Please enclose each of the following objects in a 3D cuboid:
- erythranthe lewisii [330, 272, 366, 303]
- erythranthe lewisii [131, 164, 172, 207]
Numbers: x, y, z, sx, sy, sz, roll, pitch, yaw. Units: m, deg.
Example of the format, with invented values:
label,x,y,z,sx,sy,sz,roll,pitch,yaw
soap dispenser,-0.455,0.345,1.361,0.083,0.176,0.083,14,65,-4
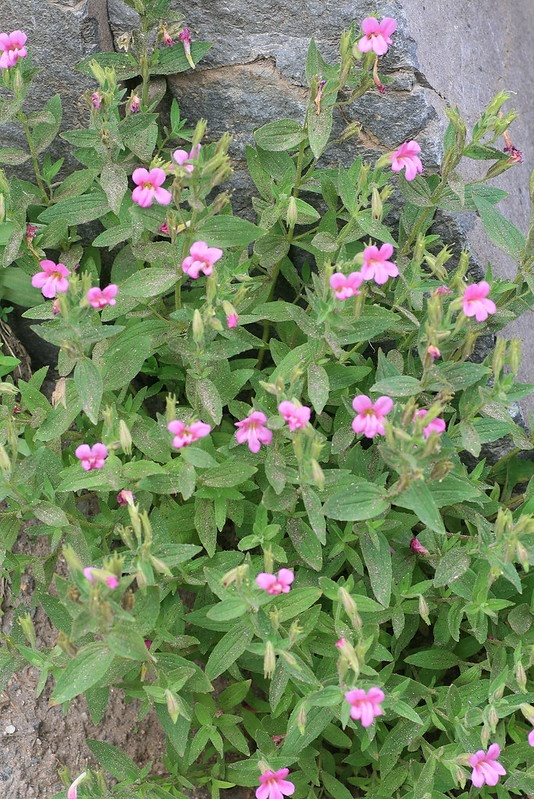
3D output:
label,x,y,z,sx,sy,sz,roll,pitch,yaw
erythranthe lewisii,0.224,-0.315,2.002,0.081,0.046,0.090,2,67,-20
erythranthe lewisii,-0.355,-0.654,2.231,0.120,0.148,0.119,-5,69,-4
